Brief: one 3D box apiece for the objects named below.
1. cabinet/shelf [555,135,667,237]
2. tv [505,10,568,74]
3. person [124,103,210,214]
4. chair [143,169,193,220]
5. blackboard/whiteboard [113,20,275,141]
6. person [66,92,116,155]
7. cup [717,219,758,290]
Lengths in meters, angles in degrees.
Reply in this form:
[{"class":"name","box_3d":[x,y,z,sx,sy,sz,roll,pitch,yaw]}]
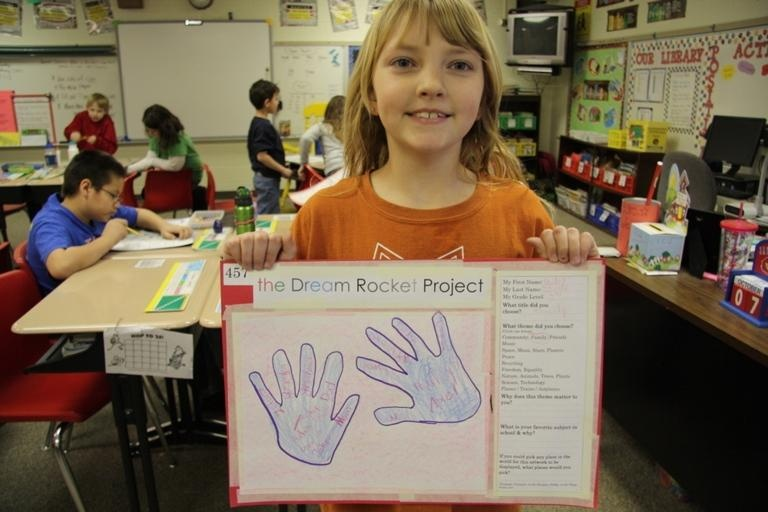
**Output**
[{"class":"cabinet/shelf","box_3d":[2.207,-0.707,5.716,0.365,0.835,1.284,1,16,-8]},{"class":"tv","box_3d":[1.873,-2.642,7.202,0.652,0.690,0.347,7,21,27]},{"class":"person","box_3d":[-2.082,-0.777,5.612,0.686,1.285,0.565,-10,24,-35]},{"class":"chair","box_3d":[-1.945,-0.562,5.333,0.362,0.651,0.410,-6,29,-20]},{"class":"blackboard/whiteboard","box_3d":[-2.408,-2.259,7.282,1.944,1.631,0.203,0,15,-6]},{"class":"person","box_3d":[-3.402,-1.544,6.820,0.445,0.661,0.713,-10,18,-26]},{"class":"cup","box_3d":[1.629,-0.004,2.747,0.147,0.323,0.259,9,19,33]}]
